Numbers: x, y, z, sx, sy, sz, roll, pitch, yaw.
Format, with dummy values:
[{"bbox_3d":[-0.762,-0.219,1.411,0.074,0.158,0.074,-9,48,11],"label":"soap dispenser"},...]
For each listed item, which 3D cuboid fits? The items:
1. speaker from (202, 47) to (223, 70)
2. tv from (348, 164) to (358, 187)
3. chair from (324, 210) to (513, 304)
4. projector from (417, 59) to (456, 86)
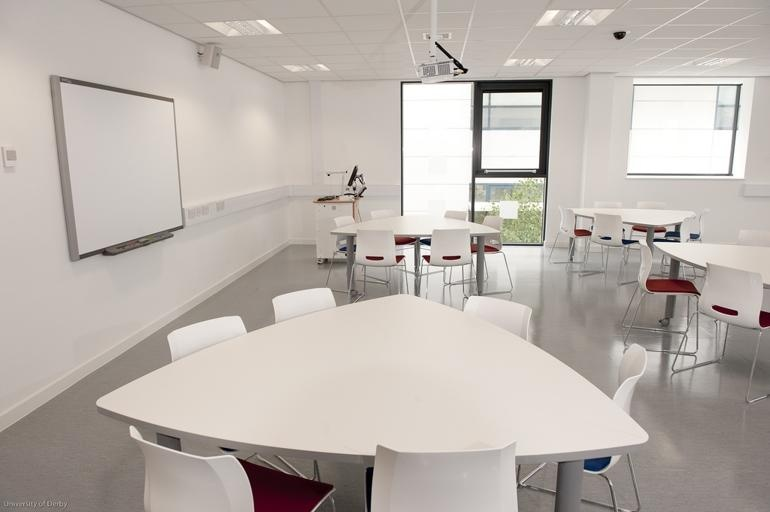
[{"bbox_3d":[-2.395,-2.725,7.065,0.161,0.292,0.304,6,12,7],"label":"speaker"},{"bbox_3d":[-0.611,-1.502,9.645,0.105,0.362,0.403,12,1,1],"label":"tv"},{"bbox_3d":[0.391,0.023,7.289,2.094,1.067,1.409,1,12,0],"label":"chair"},{"bbox_3d":[0.536,-1.960,5.427,0.401,0.245,0.320,3,13,7],"label":"projector"}]
